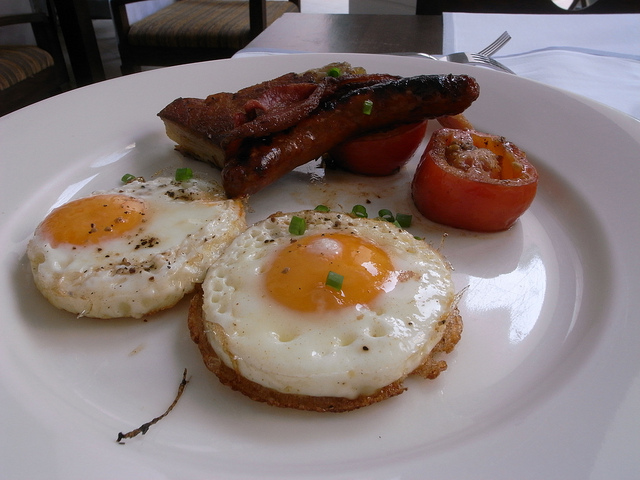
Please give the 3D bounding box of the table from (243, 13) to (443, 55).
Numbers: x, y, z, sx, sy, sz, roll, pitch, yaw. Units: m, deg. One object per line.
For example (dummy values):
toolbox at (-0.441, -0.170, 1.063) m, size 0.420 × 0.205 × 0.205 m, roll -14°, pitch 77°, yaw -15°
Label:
table at (0.171, -2.089, 5.308) m, size 2.257 × 0.406 × 1.308 m, roll 5°, pitch 24°, yaw 12°
